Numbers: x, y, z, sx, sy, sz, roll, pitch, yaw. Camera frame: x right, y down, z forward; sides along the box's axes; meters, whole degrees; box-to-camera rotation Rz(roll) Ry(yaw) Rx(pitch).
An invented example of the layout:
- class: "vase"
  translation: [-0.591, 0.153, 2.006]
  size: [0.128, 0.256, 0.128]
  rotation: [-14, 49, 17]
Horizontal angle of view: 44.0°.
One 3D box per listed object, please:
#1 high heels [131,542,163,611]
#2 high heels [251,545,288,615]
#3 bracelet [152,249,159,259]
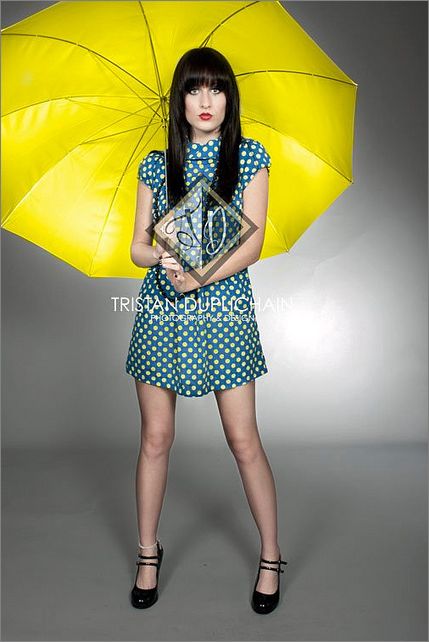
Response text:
- class: "high heels"
  translation: [-0.170, 0.683, 1.436]
  size: [0.053, 0.065, 0.168]
  rotation: [0, 39, 11]
- class: "high heels"
  translation: [0.141, 0.682, 1.413]
  size: [0.056, 0.069, 0.173]
  rotation: [2, 31, 11]
- class: "bracelet"
  translation: [-0.139, -0.157, 1.250]
  size: [0.005, 0.022, 0.015]
  rotation: [-26, 19, -38]
